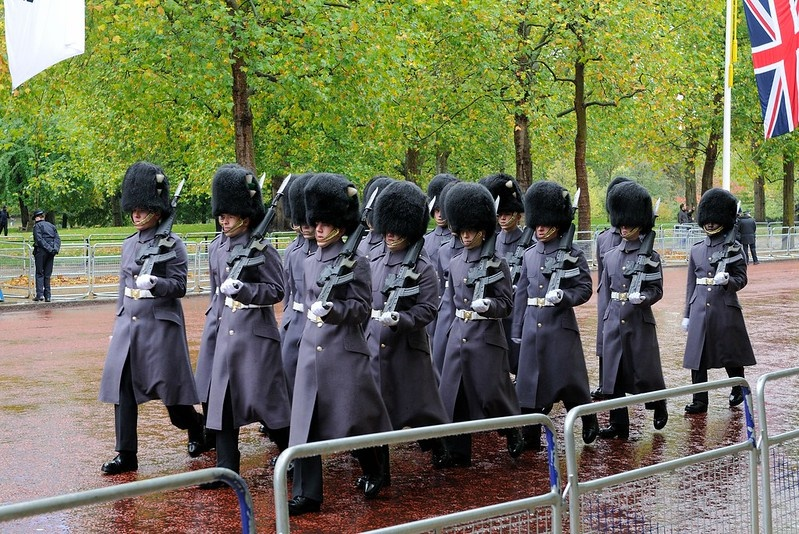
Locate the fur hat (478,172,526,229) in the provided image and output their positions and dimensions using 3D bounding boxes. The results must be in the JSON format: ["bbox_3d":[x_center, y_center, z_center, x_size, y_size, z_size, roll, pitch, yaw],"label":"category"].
[{"bbox_3d":[1.326,-0.772,14.658,0.509,0.476,0.782,4,-40,12],"label":"fur hat"}]

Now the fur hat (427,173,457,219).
[{"bbox_3d":[0.426,-0.968,15.045,0.490,0.599,0.632,1,8,13],"label":"fur hat"}]

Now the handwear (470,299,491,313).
[{"bbox_3d":[0.898,0.445,12.649,0.189,0.166,0.161,-3,1,30],"label":"handwear"}]

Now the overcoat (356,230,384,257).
[{"bbox_3d":[-0.344,-0.270,13.326,0.359,0.342,0.220,0,-8,42],"label":"overcoat"}]

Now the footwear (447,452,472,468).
[{"bbox_3d":[0.661,2.167,12.649,0.268,0.169,0.062,5,9,-10],"label":"footwear"}]

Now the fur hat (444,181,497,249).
[{"bbox_3d":[0.734,-0.582,13.280,0.691,0.732,0.866,-5,-6,-3],"label":"fur hat"}]

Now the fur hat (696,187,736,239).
[{"bbox_3d":[4.260,-0.772,15.355,0.618,0.659,0.810,-1,6,19],"label":"fur hat"}]

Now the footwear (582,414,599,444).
[{"bbox_3d":[2.234,1.907,13.349,0.180,0.330,0.296,-4,1,8],"label":"footwear"}]

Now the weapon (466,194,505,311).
[{"bbox_3d":[0.937,-0.103,12.834,0.436,1.177,0.482,-4,1,3],"label":"weapon"}]

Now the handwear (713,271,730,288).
[{"bbox_3d":[4.170,0.163,14.779,0.212,0.161,0.198,-3,1,25],"label":"handwear"}]

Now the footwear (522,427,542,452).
[{"bbox_3d":[1.538,1.998,13.224,0.328,0.272,0.076,1,0,-24],"label":"footwear"}]

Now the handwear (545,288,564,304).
[{"bbox_3d":[1.817,0.358,13.324,0.205,0.165,0.122,-3,1,9],"label":"handwear"}]

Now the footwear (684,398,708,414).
[{"bbox_3d":[3.761,1.796,14.427,0.348,0.134,0.124,4,-13,-25],"label":"footwear"}]

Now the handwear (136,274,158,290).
[{"bbox_3d":[-2.808,0.179,12.624,0.163,0.201,0.095,18,10,-2],"label":"handwear"}]

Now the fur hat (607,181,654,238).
[{"bbox_3d":[2.892,-0.746,14.141,0.523,0.577,0.681,3,-5,16],"label":"fur hat"}]

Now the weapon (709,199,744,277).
[{"bbox_3d":[4.274,-0.361,14.962,0.397,1.013,0.106,8,-30,26],"label":"weapon"}]

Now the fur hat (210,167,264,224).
[{"bbox_3d":[-1.850,-0.844,12.915,0.524,0.611,0.676,-5,15,-25],"label":"fur hat"}]

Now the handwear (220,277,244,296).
[{"bbox_3d":[-1.806,0.226,12.175,0.230,0.194,0.165,-3,1,26],"label":"handwear"}]

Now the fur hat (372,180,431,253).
[{"bbox_3d":[-0.052,-0.566,12.780,0.697,0.785,0.865,1,8,-23],"label":"fur hat"}]

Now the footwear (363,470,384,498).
[{"bbox_3d":[-0.270,2.301,12.016,0.124,0.141,0.355,1,6,10],"label":"footwear"}]

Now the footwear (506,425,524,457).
[{"bbox_3d":[1.304,1.977,12.862,0.199,0.324,0.123,-9,3,-1],"label":"footwear"}]

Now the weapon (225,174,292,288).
[{"bbox_3d":[-1.598,-0.363,11.988,0.265,0.616,2.418,-20,-18,-17],"label":"weapon"}]

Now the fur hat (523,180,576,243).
[{"bbox_3d":[1.881,-0.811,14.028,0.768,0.563,0.542,-9,12,-38],"label":"fur hat"}]

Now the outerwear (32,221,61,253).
[{"bbox_3d":[-7.123,-0.600,22.940,0.488,0.723,0.599,-4,1,-17],"label":"outerwear"}]

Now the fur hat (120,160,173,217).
[{"bbox_3d":[-2.877,-0.914,13.080,0.534,0.544,0.663,1,-2,-41],"label":"fur hat"}]

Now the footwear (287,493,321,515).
[{"bbox_3d":[-0.975,2.453,11.690,0.433,0.174,0.151,7,-2,-18],"label":"footwear"}]

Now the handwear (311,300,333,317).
[{"bbox_3d":[-0.801,0.431,11.635,0.071,0.135,0.196,27,43,31],"label":"handwear"}]

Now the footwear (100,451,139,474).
[{"bbox_3d":[-3.083,2.162,12.503,0.386,0.260,0.140,-3,0,-14],"label":"footwear"}]

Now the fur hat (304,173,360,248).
[{"bbox_3d":[-0.715,-0.582,12.250,0.617,0.770,0.593,-2,-4,-3],"label":"fur hat"}]
